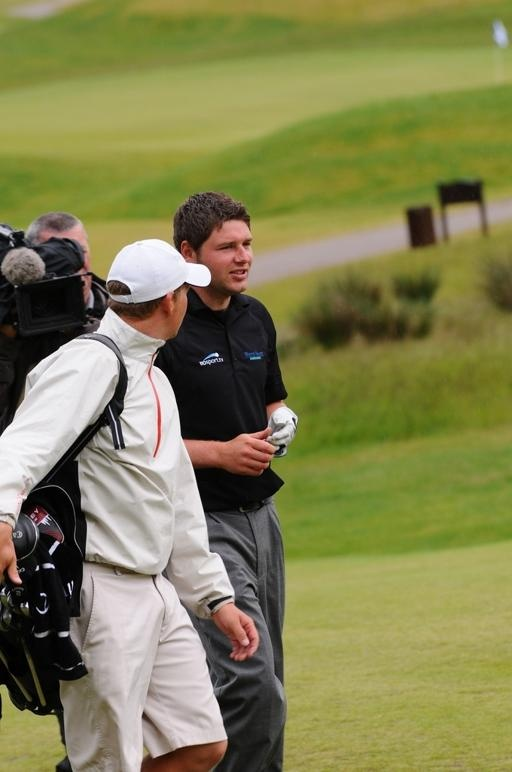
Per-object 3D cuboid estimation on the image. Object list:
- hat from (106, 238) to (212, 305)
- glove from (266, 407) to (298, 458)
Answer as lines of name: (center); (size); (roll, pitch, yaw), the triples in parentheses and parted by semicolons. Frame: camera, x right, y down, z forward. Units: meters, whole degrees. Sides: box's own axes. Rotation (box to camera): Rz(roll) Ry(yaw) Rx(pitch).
hat: (-0.252, -0.324, 2.864); (0.272, 0.130, 0.181); (-10, 25, -28)
glove: (0.088, 0.158, 3.525); (0.113, 0.074, 0.166); (1, 26, -5)
